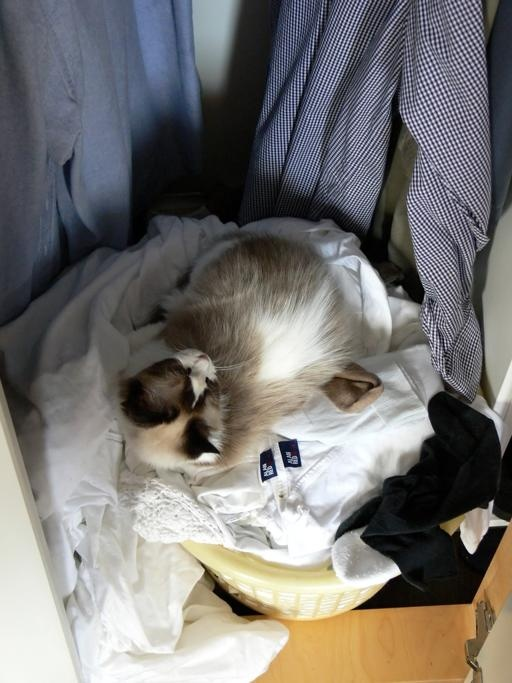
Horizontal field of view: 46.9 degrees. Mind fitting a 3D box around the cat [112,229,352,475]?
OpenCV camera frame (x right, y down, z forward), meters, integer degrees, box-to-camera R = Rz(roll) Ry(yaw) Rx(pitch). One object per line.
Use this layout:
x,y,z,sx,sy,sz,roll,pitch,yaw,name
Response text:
-0.036,0.012,0.836,0.369,0.175,0.250,-23,53,-25,cat
